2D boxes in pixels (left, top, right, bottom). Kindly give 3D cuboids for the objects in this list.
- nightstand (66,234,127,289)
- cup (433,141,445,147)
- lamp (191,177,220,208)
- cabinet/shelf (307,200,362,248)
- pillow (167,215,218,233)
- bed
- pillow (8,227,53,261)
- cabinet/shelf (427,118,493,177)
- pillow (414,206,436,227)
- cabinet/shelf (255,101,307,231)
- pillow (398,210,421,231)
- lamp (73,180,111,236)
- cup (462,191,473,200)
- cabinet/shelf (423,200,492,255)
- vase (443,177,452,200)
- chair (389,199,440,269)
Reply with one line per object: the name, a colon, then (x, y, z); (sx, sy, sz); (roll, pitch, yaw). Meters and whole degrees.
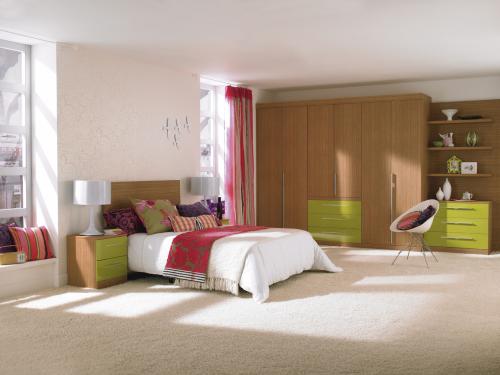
nightstand: (-1.906, 0.933, 4.956); (0.754, 0.502, 0.685); (-1, -4, 3)
cup: (3.466, -0.780, 7.126); (0.147, 0.065, 0.130); (-1, 1, 2)
lamp: (-0.710, 0.130, 6.444); (0.501, 0.596, 0.452); (3, 6, 13)
cabinet/shelf: (1.618, 0.677, 7.217); (1.084, 0.720, 0.393); (1, 0, 22)
pillow: (-0.771, 0.488, 5.334); (0.116, 0.194, 0.673); (-33, -21, 34)
bed: (-0.325, 0.556, 5.279); (2.424, 1.294, 1.796); (1, 2, 32)
pillow: (-2.570, 0.664, 4.554); (0.199, 0.344, 0.485); (-8, -5, 29)
cabinet/shelf: (3.828, -0.733, 7.048); (1.335, 0.984, 0.380); (0, -3, 24)
pillow: (2.638, 0.437, 5.820); (0.446, 0.290, 0.176); (-2, 2, -34)
cabinet/shelf: (0.544, -0.393, 7.898); (1.244, 2.480, 0.384); (0, -1, -29)
pillow: (2.442, 0.523, 6.040); (0.364, 0.081, 0.280); (-26, 11, 26)
lamp: (-1.967, 0.248, 4.824); (0.370, 0.675, 0.483); (-2, 3, -36)
cup: (3.860, 0.157, 6.979); (0.223, 0.131, 0.138); (3, -6, -41)
cabinet/shelf: (3.525, 0.666, 6.553); (1.115, 0.748, 0.424); (1, -3, 28)
vase: (3.580, 0.025, 7.058); (0.145, 0.378, 0.349); (0, 2, 25)
chair: (2.456, 0.702, 5.778); (0.537, 0.542, 0.455); (7, -21, -18)
